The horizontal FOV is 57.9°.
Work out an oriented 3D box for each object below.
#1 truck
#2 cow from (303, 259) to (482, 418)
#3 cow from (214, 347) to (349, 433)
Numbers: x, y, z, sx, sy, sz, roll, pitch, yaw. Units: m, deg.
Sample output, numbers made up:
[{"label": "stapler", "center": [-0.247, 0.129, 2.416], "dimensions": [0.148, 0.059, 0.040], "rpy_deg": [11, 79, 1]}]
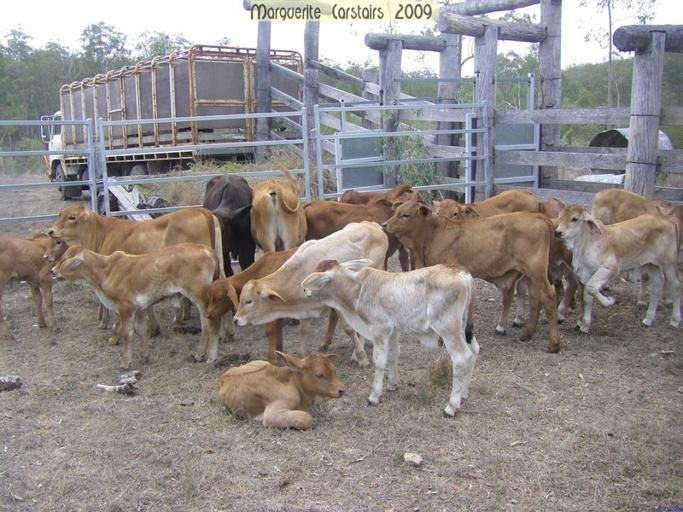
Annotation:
[{"label": "truck", "center": [-6.551, -3.919, 20.000], "dimensions": [8.202, 4.154, 2.652], "rpy_deg": [3, 10, 39]}, {"label": "cow", "center": [0.496, 0.668, 6.607], "dimensions": [2.003, 1.740, 1.032], "rpy_deg": [4, 11, 33]}, {"label": "cow", "center": [-0.618, 1.292, 6.152], "dimensions": [1.234, 0.803, 0.982], "rpy_deg": [4, -6, 22]}]
